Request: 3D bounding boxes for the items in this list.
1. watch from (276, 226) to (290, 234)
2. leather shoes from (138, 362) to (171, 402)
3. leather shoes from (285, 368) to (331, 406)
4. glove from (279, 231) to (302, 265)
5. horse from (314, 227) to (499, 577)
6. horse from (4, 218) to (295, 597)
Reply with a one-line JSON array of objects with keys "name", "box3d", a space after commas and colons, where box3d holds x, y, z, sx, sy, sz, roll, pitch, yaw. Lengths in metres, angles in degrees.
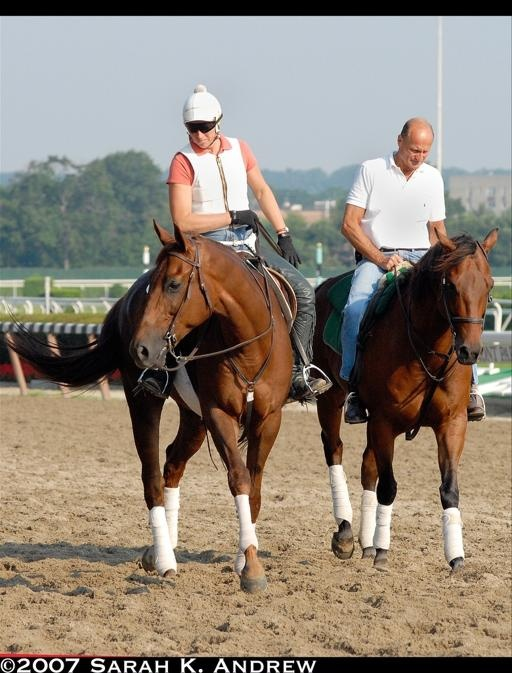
[{"name": "watch", "box3d": [0.173, -0.660, 7.667, 0.045, 0.021, 0.048, -17, -11, 34]}, {"name": "leather shoes", "box3d": [-0.565, 0.245, 6.781, 0.167, 0.181, 0.093, 14, -22, 0]}, {"name": "leather shoes", "box3d": [0.291, 0.305, 7.536, 0.132, 0.201, 0.450, -15, -12, -21]}, {"name": "glove", "box3d": [0.225, -0.539, 7.623, 0.053, 0.210, 0.130, -29, -29, 21]}, {"name": "horse", "box3d": [0.886, 0.471, 7.661, 0.720, 2.007, 2.831, 0, -2, -12]}, {"name": "horse", "box3d": [-0.329, 0.415, 6.865, 1.099, 2.081, 1.782, 0, 4, -8]}]
